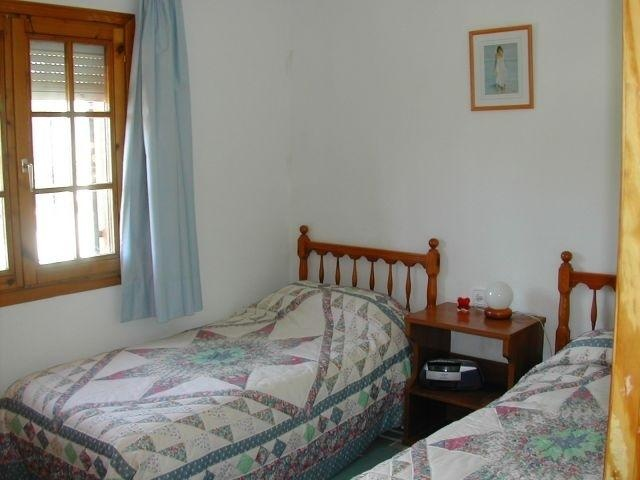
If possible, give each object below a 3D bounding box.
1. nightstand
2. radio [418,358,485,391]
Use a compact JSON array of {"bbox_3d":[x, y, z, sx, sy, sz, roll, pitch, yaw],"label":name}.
[{"bbox_3d":[0.845,0.796,3.003,0.644,0.794,0.494,3,9,39],"label":"nightstand"},{"bbox_3d":[0.725,0.788,3.007,0.333,0.178,0.199,-4,-20,27],"label":"radio"}]
